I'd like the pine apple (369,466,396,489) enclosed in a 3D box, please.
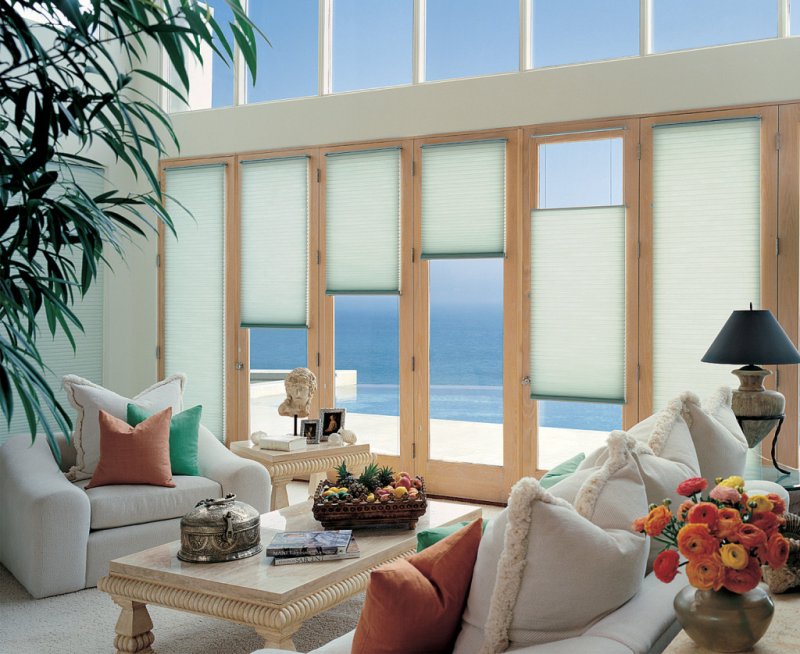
[{"bbox_3d":[-0.085,0.749,3.527,0.094,0.077,0.089,1,0,0],"label":"pine apple"}]

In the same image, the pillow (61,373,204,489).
[{"bbox_3d":[-1.626,0.652,4.307,0.649,0.561,0.262,3,-8,-32],"label":"pillow"}]

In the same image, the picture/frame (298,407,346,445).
[{"bbox_3d":[-0.519,0.663,4.673,0.221,0.190,0.072,2,-12,-4],"label":"picture/frame"}]

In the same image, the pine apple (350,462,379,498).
[{"bbox_3d":[-0.197,0.762,3.487,0.117,0.178,0.125,-1,-8,31],"label":"pine apple"}]

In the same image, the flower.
[{"bbox_3d":[0.758,0.510,1.763,0.353,0.264,0.249,1,1,29],"label":"flower"}]
